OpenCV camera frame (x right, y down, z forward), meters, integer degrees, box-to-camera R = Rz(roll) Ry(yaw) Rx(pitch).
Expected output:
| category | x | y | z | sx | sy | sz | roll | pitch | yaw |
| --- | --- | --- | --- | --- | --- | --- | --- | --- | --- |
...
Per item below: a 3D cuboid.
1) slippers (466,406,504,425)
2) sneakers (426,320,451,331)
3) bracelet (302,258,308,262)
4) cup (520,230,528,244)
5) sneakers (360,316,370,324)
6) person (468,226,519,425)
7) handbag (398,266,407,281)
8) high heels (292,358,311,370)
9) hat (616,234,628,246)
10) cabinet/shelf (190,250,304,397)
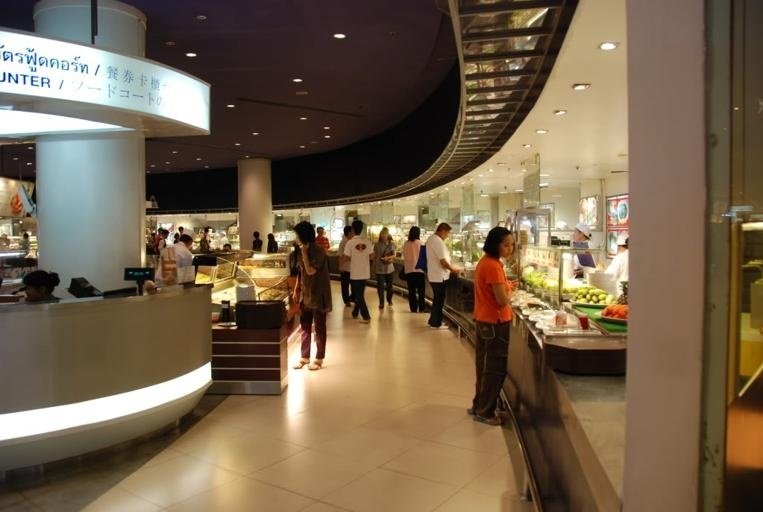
| category | x | y | z | sx | sy | sz | roll | pitch | yaw |
| --- | --- | --- | --- | --- | --- | --- | --- | --- | --- |
| slippers | 0.908 | 1.407 | 4.848 | 0.313 | 0.122 | 0.115 | -6 | -6 | 35 |
| sneakers | 0.907 | 1.099 | 8.697 | 0.345 | 0.148 | 0.128 | -1 | 1 | -14 |
| bracelet | -0.847 | 0.036 | 6.143 | 0.045 | 0.033 | 0.013 | 13 | -10 | 0 |
| cup | 1.672 | -0.220 | 6.448 | 0.084 | 0.151 | 0.157 | 1 | -3 | 6 |
| sneakers | -0.266 | 1.077 | 9.179 | 0.190 | 0.129 | 0.064 | 3 | 2 | 9 |
| person | 0.915 | 0.611 | 4.678 | 0.361 | 1.696 | 0.330 | 3 | 7 | 28 |
| handbag | 0.397 | 0.349 | 10.604 | 0.227 | 0.301 | 0.305 | -4 | 1 | 1 |
| high heels | -0.960 | 1.286 | 6.545 | 0.183 | 0.093 | 0.092 | 8 | -10 | -36 |
| hat | 4.470 | -0.308 | 10.191 | 0.074 | 0.283 | 0.284 | 11 | -2 | -11 |
| cabinet/shelf | -1.756 | 1.020 | 6.899 | 0.888 | 1.411 | 2.695 | -7 | -10 | -13 |
